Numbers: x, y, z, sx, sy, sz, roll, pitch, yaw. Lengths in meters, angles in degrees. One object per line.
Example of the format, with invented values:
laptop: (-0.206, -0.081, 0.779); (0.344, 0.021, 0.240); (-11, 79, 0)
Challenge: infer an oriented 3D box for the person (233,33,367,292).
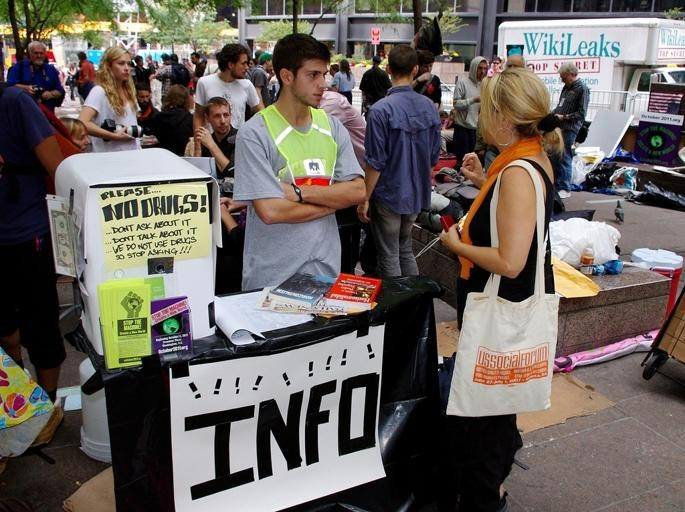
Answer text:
person: (-0.266, -0.489, 2.806); (0.811, 1.375, 0.448); (-16, 25, -37)

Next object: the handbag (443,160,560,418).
handbag: (0.791, 0.176, 2.459); (0.528, 1.213, 0.315); (2, 19, 6)

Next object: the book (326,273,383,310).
book: (0.061, 0.186, 2.608); (0.263, 0.066, 0.293); (14, 32, 28)

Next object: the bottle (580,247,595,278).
bottle: (2.187, 0.058, 4.599); (0.122, 0.207, 0.219); (10, 22, 26)

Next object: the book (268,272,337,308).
book: (-0.188, 0.175, 2.635); (0.348, 0.050, 0.364); (-6, 25, -9)

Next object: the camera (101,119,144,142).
camera: (-2.207, -1.246, 5.156); (0.389, 0.180, 0.177); (-1, 41, -36)
